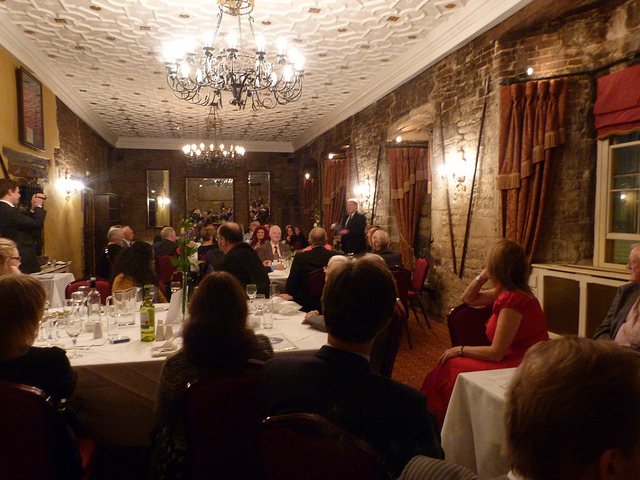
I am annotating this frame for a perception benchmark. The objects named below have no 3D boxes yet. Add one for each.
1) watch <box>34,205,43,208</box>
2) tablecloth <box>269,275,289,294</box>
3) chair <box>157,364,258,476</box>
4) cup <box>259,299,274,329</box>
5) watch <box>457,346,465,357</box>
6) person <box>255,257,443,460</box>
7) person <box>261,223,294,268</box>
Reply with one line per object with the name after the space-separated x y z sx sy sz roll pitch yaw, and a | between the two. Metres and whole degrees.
-3.397 -0.405 5.358 0.036 0.030 0.090 3 4 24 | watch
-0.516 0.539 5.609 0.247 0.226 0.204 2 -3 -41 | tablecloth
-0.468 0.780 1.916 0.399 0.655 0.372 -1 18 -10 | chair
-0.376 0.528 3.190 0.137 0.244 0.149 -1 -3 0 | cup
0.904 0.717 2.861 0.012 0.048 0.047 19 23 -2 | watch
0.125 0.566 2.271 0.974 0.959 0.588 6 11 16 | person
-0.750 0.107 7.198 0.580 0.949 0.511 0 -8 -23 | person
